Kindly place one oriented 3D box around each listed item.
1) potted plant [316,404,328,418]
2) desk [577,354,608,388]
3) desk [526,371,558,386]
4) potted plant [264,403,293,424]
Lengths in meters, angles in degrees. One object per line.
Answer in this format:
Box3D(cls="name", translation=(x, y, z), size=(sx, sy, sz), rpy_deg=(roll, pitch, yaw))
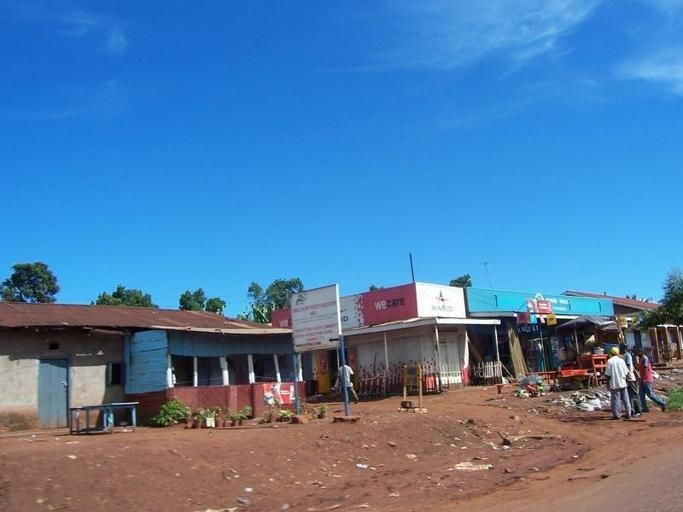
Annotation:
Box3D(cls="potted plant", translation=(-0.603, 5.521, 18.576), size=(0.608, 0.477, 0.515), rpy_deg=(5, -15, -16))
Box3D(cls="desk", translation=(11.130, 5.069, 23.187), size=(0.905, 1.411, 1.705), rpy_deg=(-6, -10, 39))
Box3D(cls="desk", translation=(8.990, 5.446, 23.183), size=(1.246, 0.653, 2.393), rpy_deg=(-4, -8, 29))
Box3D(cls="potted plant", translation=(-2.241, 5.605, 18.463), size=(1.241, 0.659, 0.989), rpy_deg=(2, -4, 1))
